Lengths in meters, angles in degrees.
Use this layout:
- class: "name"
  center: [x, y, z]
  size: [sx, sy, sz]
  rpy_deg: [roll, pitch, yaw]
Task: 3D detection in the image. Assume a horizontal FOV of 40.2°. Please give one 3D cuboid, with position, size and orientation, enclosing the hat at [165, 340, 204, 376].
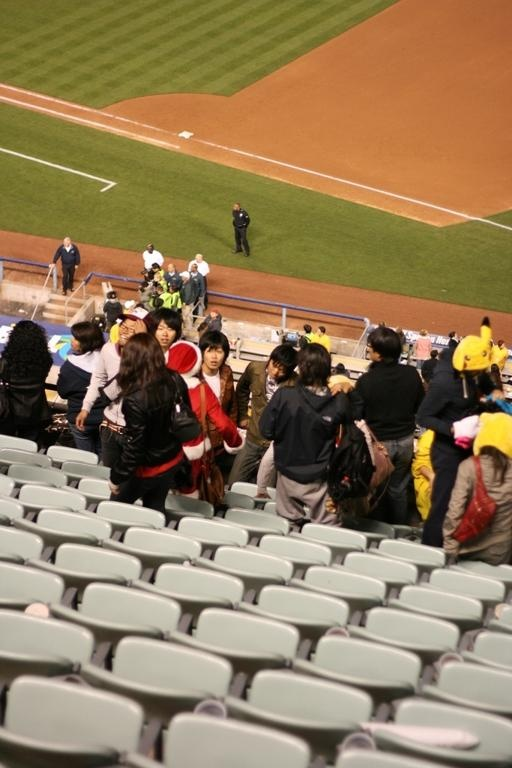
- class: "hat"
  center: [-0.448, -0.154, 4.358]
  size: [0.206, 0.210, 0.218]
  rpy_deg: [4, 7, -6]

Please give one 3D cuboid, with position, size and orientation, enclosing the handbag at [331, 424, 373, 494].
- class: "handbag"
  center: [0.546, 0.449, 4.089]
  size: [0.254, 0.431, 0.395]
  rpy_deg: [-4, 5, 13]

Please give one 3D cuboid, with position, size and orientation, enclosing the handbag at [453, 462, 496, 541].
- class: "handbag"
  center: [1.187, 0.620, 3.848]
  size: [0.107, 0.393, 0.284]
  rpy_deg: [26, -22, 5]

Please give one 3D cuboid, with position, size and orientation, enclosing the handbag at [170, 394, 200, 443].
- class: "handbag"
  center: [-0.399, 0.195, 3.850]
  size: [0.149, 0.279, 0.109]
  rpy_deg: [-17, 47, 14]

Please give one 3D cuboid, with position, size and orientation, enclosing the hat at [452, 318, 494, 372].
- class: "hat"
  center: [1.318, -0.231, 4.340]
  size: [0.297, 0.242, 0.340]
  rpy_deg: [-9, -3, -15]
